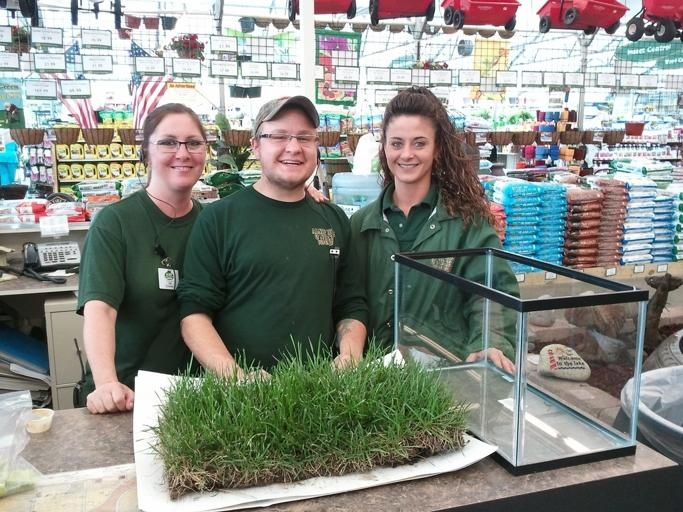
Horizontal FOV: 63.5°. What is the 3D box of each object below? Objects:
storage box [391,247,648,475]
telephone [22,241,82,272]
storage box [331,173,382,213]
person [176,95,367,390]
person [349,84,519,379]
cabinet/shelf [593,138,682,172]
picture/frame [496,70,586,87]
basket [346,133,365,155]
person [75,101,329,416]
[{"bbox_3d":[0.448,0.237,1.466,0.390,0.437,0.548,-7,14,-22],"label":"storage box"},{"bbox_3d":[-1.838,-0.007,3.504,0.317,0.166,0.289,-8,14,-26],"label":"telephone"},{"bbox_3d":[0.104,-0.401,3.410,0.299,0.263,0.172,0,26,1],"label":"storage box"},{"bbox_3d":[-0.222,-0.076,1.839,0.649,0.898,0.424,-6,14,-17],"label":"person"},{"bbox_3d":[0.285,-0.061,2.126,0.750,1.046,0.593,4,24,18],"label":"person"},{"bbox_3d":[3.591,-1.238,6.638,1.922,0.336,0.466,-11,16,-37],"label":"cabinet/shelf"},{"bbox_3d":[2.138,-1.914,5.937,1.064,0.164,0.257,-7,14,-22],"label":"picture/frame"},{"bbox_3d":[0.079,-0.889,4.392,0.173,0.173,0.156,-3,12,-11],"label":"basket"},{"bbox_3d":[-0.685,0.251,2.167,0.743,1.531,0.631,-14,37,-34],"label":"person"}]
